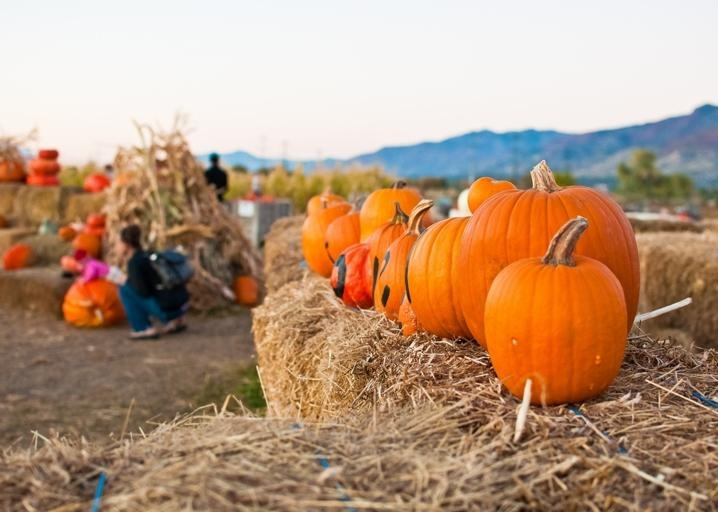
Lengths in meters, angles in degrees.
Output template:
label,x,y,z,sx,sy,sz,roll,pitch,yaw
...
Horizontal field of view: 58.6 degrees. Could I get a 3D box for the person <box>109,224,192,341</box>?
label,x,y,z,sx,sy,sz,roll,pitch,yaw
person,-1.900,0.208,5.791,0.749,0.992,0.699,-16,12,-22

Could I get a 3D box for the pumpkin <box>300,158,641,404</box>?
label,x,y,z,sx,sy,sz,roll,pitch,yaw
pumpkin,0.939,0.078,3.418,0.884,1.136,1.047,-8,12,-31
